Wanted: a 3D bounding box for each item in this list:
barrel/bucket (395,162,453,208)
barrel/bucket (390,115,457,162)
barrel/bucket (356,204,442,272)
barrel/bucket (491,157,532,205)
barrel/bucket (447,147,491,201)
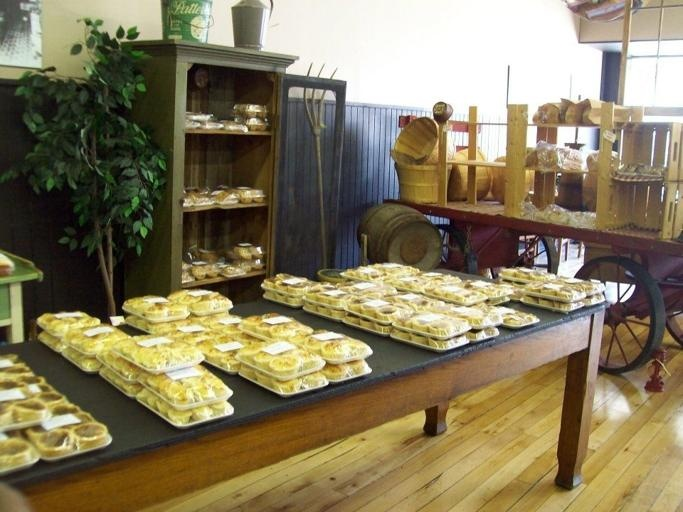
[{"bbox_3d":[0.818,-0.703,5.263,0.462,0.299,0.453,0,6,0],"label":"barrel/bucket"},{"bbox_3d":[0.867,-1.248,5.495,0.443,0.318,0.399,-13,19,-35],"label":"barrel/bucket"},{"bbox_3d":[0.523,-0.035,4.882,0.569,0.737,0.547,-5,-33,-3],"label":"barrel/bucket"},{"bbox_3d":[1.735,-0.763,5.315,0.427,0.476,1.433,5,12,19],"label":"barrel/bucket"},{"bbox_3d":[1.371,-0.879,5.585,0.439,0.575,0.530,1,17,18],"label":"barrel/bucket"}]
